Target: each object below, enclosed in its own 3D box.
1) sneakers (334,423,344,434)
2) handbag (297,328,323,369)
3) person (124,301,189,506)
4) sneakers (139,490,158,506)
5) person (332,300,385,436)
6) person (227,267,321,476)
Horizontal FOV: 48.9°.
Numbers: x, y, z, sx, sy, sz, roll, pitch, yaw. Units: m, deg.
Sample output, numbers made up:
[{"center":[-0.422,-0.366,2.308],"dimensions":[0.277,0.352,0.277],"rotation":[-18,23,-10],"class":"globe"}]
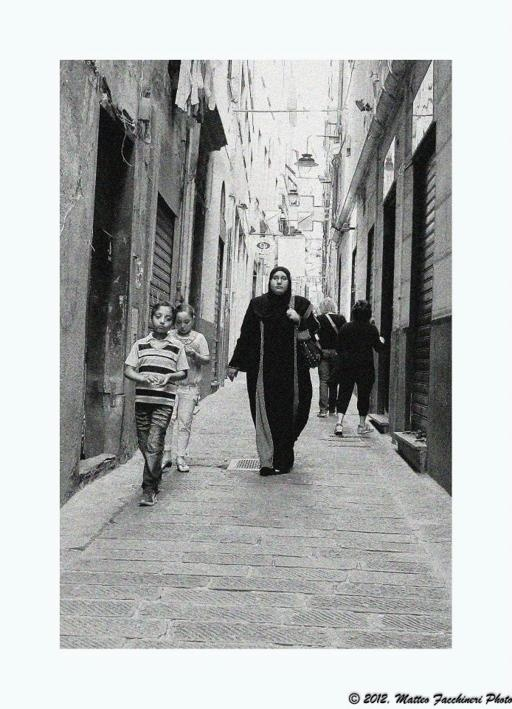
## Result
[{"center":[1.049,0.936,7.169],"dimensions":[0.107,0.106,0.260],"rotation":[1,1,8],"class":"sneakers"},{"center":[0.486,-0.054,5.164],"dimensions":[0.087,0.379,0.197],"rotation":[-16,9,-4],"class":"handbag"},{"center":[-0.707,0.329,3.974],"dimensions":[0.430,1.401,0.273],"rotation":[0,0,-14],"class":"person"},{"center":[-0.750,0.997,3.896],"dimensions":[0.049,0.086,0.152],"rotation":[-1,-8,4],"class":"sneakers"},{"center":[1.402,0.088,7.601],"dimensions":[0.517,1.922,0.595],"rotation":[-3,20,-4],"class":"person"},{"center":[0.167,0.136,5.171],"dimensions":[0.771,1.831,0.562],"rotation":[0,0,3],"class":"person"}]
